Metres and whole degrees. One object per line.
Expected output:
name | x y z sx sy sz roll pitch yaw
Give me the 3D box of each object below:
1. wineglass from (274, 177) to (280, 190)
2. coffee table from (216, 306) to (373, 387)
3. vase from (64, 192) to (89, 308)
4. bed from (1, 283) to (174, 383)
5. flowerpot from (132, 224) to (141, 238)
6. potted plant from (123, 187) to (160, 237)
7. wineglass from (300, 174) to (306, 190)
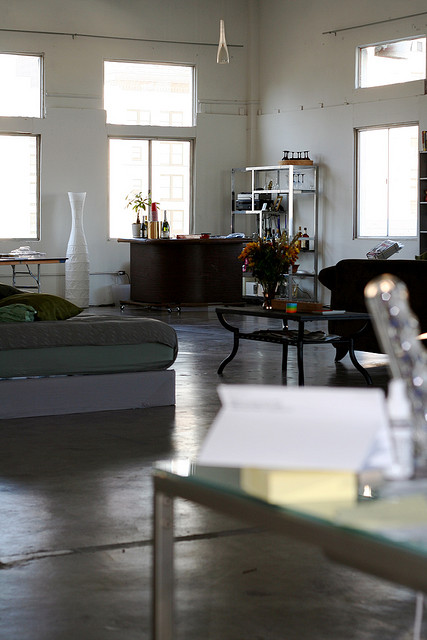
wineglass | 1.346 -2.889 11.646 0.092 0.292 0.245 -2 3 7
coffee table | 0.788 0.181 5.529 1.538 0.741 0.935 1 11 8
vase | -2.682 -1.343 10.604 0.449 2.226 0.349 -3 2 -15
bed | -0.971 0.133 4.091 1.173 0.556 0.711 -4 3 -21
flowerpot | -1.502 -1.706 10.601 0.223 0.249 0.221 1 1 -11
potted plant | -1.489 -2.198 11.132 0.767 1.161 1.237 -3 3 -5
wineglass | 1.825 -2.828 11.245 0.110 0.325 0.163 -3 2 -4
